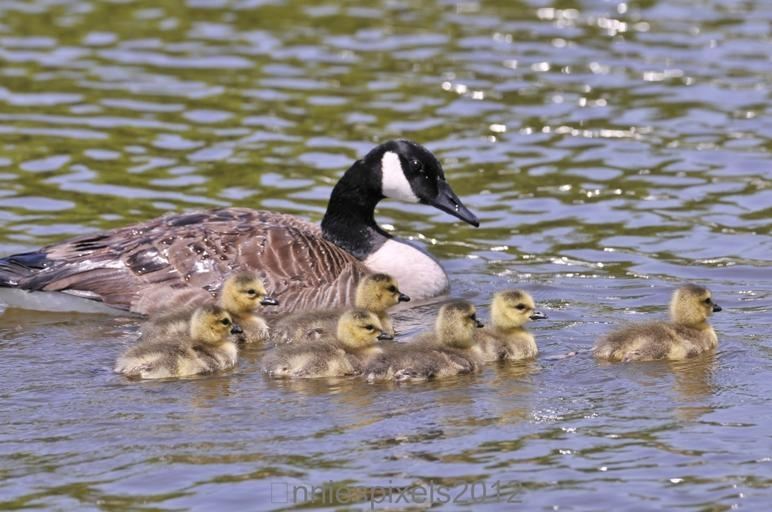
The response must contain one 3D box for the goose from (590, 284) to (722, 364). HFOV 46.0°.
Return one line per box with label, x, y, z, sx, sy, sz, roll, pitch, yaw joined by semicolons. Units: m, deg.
goose;3.204;0.824;10.724;1.082;0.923;1.291;-3;55;-3
